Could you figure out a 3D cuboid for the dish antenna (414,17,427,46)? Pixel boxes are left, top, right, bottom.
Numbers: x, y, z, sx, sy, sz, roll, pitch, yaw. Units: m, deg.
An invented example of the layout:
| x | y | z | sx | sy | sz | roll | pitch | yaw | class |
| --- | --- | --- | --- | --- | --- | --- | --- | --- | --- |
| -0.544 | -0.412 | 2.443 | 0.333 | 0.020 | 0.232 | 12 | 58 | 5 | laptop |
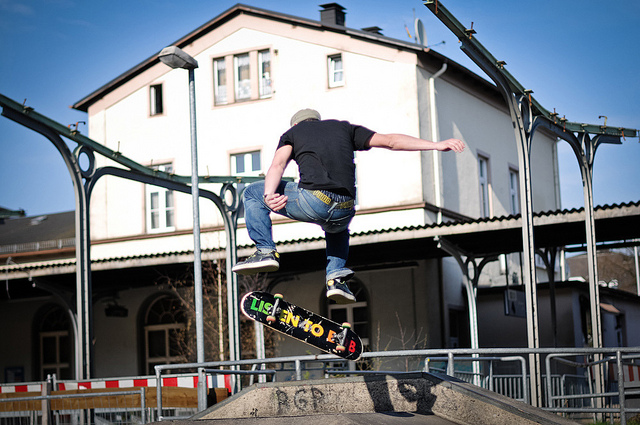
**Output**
| x | y | z | sx | sy | sz | roll | pitch | yaw | class |
| --- | --- | --- | --- | --- | --- | --- | --- | --- | --- |
| 3.368 | -5.892 | 41.328 | 0.341 | 0.892 | 0.638 | -3 | -10 | 5 | dish antenna |
